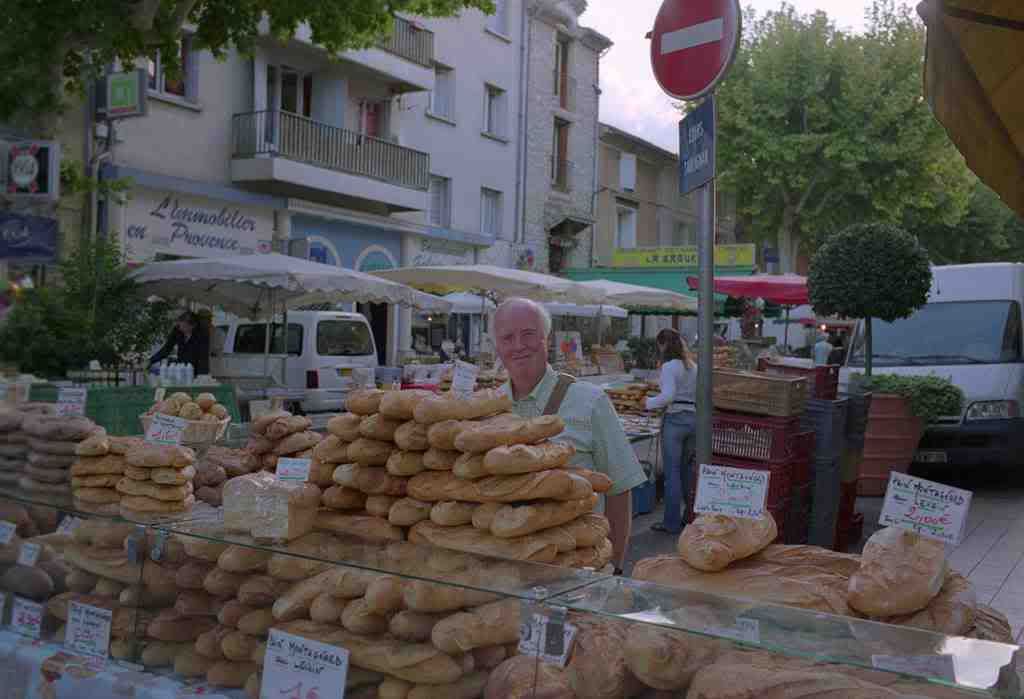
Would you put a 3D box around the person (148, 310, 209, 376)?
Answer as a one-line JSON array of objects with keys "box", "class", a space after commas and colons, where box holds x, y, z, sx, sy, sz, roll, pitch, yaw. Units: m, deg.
[{"box": [-4.453, -0.085, 13.067, 0.740, 0.778, 0.813, -8, 14, -13], "class": "person"}]

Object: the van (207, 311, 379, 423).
[{"box": [-3.769, 0.297, 16.777, 2.973, 1.706, 1.757, 1, 6, 42], "class": "van"}]

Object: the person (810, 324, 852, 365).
[{"box": [6.676, -0.138, 20.786, 0.623, 1.173, 1.191, 1, 4, 18], "class": "person"}]

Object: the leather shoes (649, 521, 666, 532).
[{"box": [1.443, 1.780, 9.832, 0.096, 0.072, 0.180, 0, -7, 11], "class": "leather shoes"}]

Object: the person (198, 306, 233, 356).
[{"box": [-4.753, -0.304, 15.940, 0.622, 0.642, 1.093, 1, 5, 5], "class": "person"}]
